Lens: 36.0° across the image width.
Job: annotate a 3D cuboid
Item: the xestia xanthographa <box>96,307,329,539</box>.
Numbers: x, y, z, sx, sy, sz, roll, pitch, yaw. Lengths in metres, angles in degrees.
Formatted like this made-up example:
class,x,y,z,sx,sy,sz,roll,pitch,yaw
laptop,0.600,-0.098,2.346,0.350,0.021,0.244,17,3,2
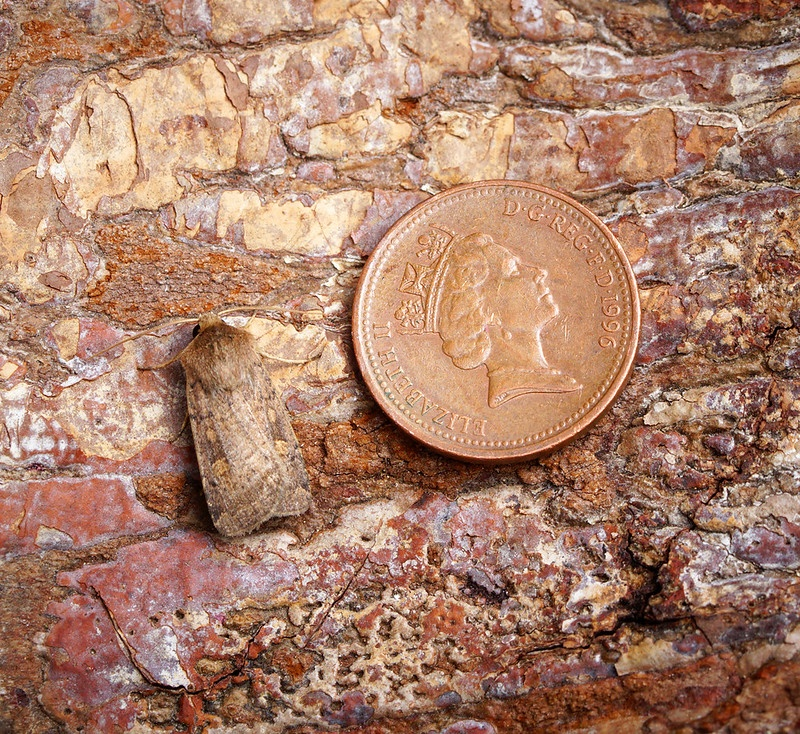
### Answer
class,x,y,z,sx,sy,sz,roll,pitch,yaw
xestia xanthographa,-0.568,0.213,4.414,0.454,0.203,0.730,-16,83,-15

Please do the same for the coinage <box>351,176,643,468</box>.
class,x,y,z,sx,sy,sz,roll,pitch,yaw
coinage,0.333,-0.175,4.331,0.999,0.272,0.947,10,65,10
